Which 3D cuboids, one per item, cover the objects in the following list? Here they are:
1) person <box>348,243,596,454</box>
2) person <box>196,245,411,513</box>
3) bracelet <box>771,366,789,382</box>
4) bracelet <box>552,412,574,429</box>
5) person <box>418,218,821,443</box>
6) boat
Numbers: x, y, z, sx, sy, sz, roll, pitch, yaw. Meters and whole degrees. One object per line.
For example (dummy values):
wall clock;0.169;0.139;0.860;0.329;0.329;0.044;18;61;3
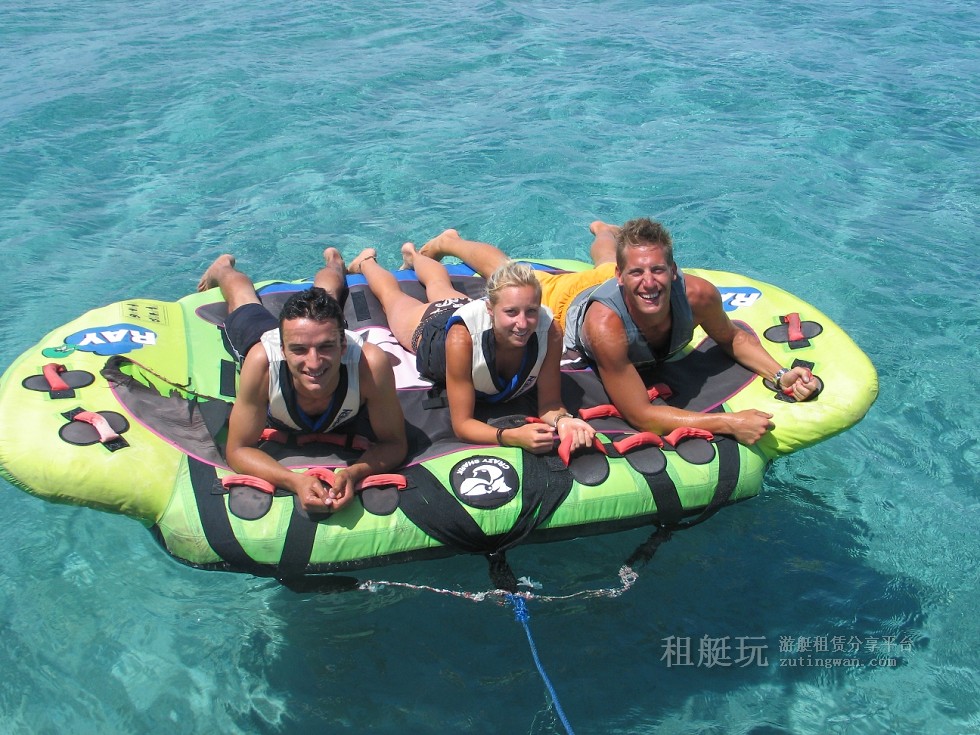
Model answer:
person;-0.195;-0.418;7.389;0.993;0.997;2.657;-11;34;-25
person;-1.252;-0.006;7.093;1.496;0.846;2.360;0;17;-11
bracelet;1.999;0.040;7.116;0.106;0.021;0.091;-18;21;26
bracelet;0.473;0.338;6.803;0.137;0.036;0.122;-22;15;-21
person;0.978;-0.418;7.263;1.447;0.833;2.367;-25;35;-22
boat;-0.378;0.625;6.634;5.127;0.614;2.152;-4;31;-10
